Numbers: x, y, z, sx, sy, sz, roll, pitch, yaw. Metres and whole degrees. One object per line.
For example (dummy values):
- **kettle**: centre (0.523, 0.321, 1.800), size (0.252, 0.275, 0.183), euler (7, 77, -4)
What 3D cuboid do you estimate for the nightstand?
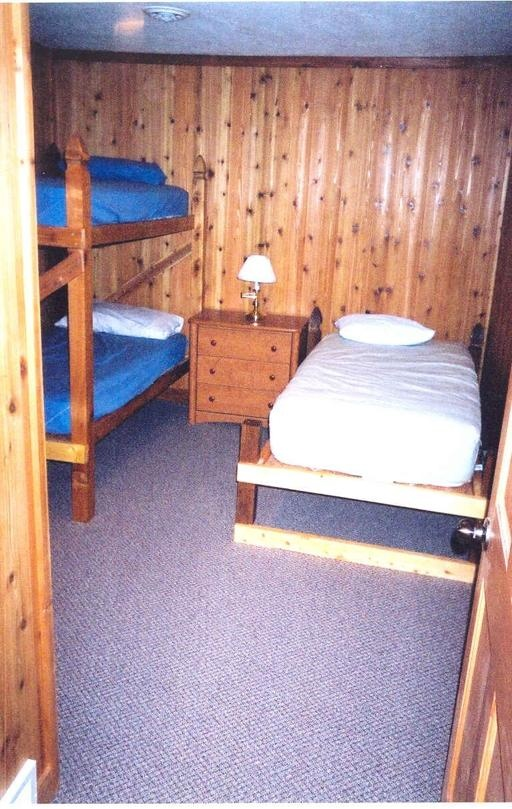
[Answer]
- **nightstand**: centre (-0.080, -0.332, 4.798), size (1.087, 1.088, 0.683), euler (3, 11, 5)

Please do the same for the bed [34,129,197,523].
- **bed**: centre (-0.802, -0.491, 3.676), size (0.874, 1.656, 2.260), euler (0, 19, 0)

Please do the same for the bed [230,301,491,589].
- **bed**: centre (0.535, 0.305, 3.154), size (1.159, 0.756, 0.884), euler (8, 15, 18)

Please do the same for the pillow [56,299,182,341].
- **pillow**: centre (-0.873, -0.593, 4.464), size (0.637, 0.143, 0.417), euler (6, 27, -3)
